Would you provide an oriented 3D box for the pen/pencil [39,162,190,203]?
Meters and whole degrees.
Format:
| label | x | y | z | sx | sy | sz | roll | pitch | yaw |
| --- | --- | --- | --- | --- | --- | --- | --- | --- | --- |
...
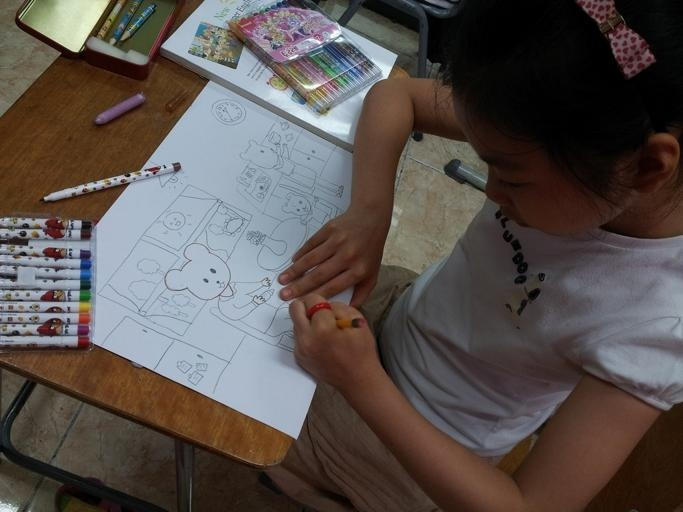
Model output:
| label | x | y | z | sx | sy | sz | roll | pitch | yaw |
| --- | --- | --- | --- | --- | --- | --- | --- | --- | --- |
| pen/pencil | -0.382 | -0.120 | 0.940 | 0.157 | 0.017 | 0.017 | -21 | 112 | -18 |

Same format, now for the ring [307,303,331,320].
| label | x | y | z | sx | sy | sz | roll | pitch | yaw |
| --- | --- | --- | --- | --- | --- | --- | --- | --- | --- |
| ring | -0.035 | 0.082 | 0.914 | 0.027 | 0.027 | 0.010 | -16 | 122 | 3 |

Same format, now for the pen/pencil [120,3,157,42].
| label | x | y | z | sx | sy | sz | roll | pitch | yaw |
| --- | --- | --- | --- | --- | --- | --- | --- | --- | --- |
| pen/pencil | -0.379 | -0.437 | 1.070 | 0.028 | 0.016 | 0.109 | 31 | 74 | -2 |

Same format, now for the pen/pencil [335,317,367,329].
| label | x | y | z | sx | sy | sz | roll | pitch | yaw |
| --- | --- | --- | --- | --- | --- | --- | --- | --- | --- |
| pen/pencil | 0.010 | 0.107 | 0.899 | 0.014 | 0.075 | 0.015 | 41 | 56 | -36 |
